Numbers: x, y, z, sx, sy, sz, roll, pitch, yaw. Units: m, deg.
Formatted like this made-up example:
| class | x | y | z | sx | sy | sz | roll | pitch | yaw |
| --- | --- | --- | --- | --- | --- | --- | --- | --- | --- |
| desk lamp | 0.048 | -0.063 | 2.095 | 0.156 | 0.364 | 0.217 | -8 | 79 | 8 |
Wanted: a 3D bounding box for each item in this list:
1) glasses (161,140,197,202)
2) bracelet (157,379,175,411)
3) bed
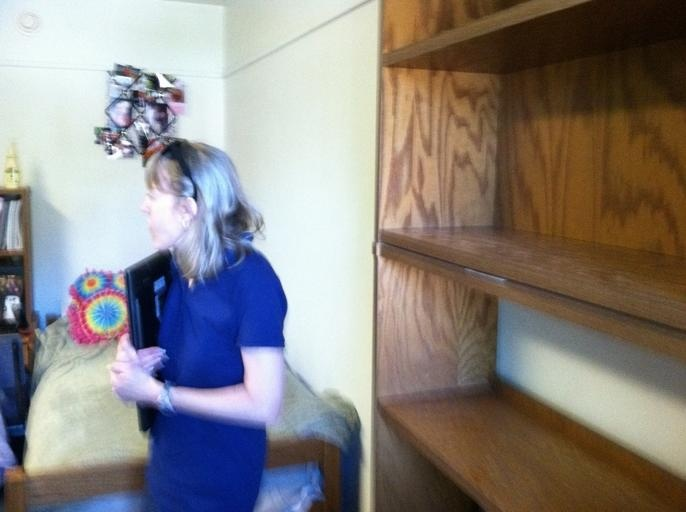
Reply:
| class | x | y | z | sx | sy | sz | roll | pitch | yaw |
| --- | --- | --- | --- | --- | --- | --- | --- | --- | --- |
| glasses | -0.366 | -0.202 | 1.268 | 0.051 | 0.128 | 0.091 | -28 | 22 | -18 |
| bracelet | -0.408 | 0.321 | 1.263 | 0.015 | 0.062 | 0.042 | -7 | 5 | -36 |
| bed | -0.735 | 0.679 | 2.254 | 1.018 | 0.576 | 0.866 | 3 | 5 | -10 |
